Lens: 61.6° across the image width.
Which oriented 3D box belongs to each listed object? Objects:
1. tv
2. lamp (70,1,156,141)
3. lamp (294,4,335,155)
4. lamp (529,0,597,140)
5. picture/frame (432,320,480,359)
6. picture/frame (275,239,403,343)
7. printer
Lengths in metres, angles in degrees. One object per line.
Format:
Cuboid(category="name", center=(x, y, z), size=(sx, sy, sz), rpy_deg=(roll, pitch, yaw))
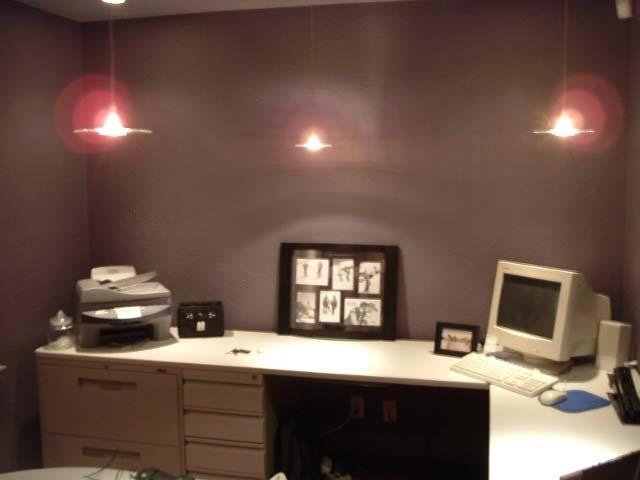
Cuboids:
Cuboid(category="tv", center=(1.456, 0.452, 3.460), size=(0.613, 0.570, 0.639), rpy_deg=(8, 4, 34))
Cuboid(category="lamp", center=(-1.386, -1.121, 3.694), size=(0.527, 1.002, 0.958), rpy_deg=(4, -4, -26))
Cuboid(category="lamp", center=(-0.030, -1.112, 3.714), size=(0.249, 0.985, 0.208), rpy_deg=(2, -3, -4))
Cuboid(category="lamp", center=(1.566, -1.085, 3.371), size=(0.388, 0.926, 0.395), rpy_deg=(1, -3, 16))
Cuboid(category="picture/frame", center=(0.887, 0.652, 3.475), size=(0.188, 0.173, 0.014), rpy_deg=(4, -10, 9))
Cuboid(category="picture/frame", center=(0.168, 0.372, 3.736), size=(0.631, 0.577, 0.055), rpy_deg=(1, -4, 7))
Cuboid(category="printer", center=(-1.363, 0.455, 3.699), size=(0.581, 0.473, 0.508), rpy_deg=(-1, 9, -34))
